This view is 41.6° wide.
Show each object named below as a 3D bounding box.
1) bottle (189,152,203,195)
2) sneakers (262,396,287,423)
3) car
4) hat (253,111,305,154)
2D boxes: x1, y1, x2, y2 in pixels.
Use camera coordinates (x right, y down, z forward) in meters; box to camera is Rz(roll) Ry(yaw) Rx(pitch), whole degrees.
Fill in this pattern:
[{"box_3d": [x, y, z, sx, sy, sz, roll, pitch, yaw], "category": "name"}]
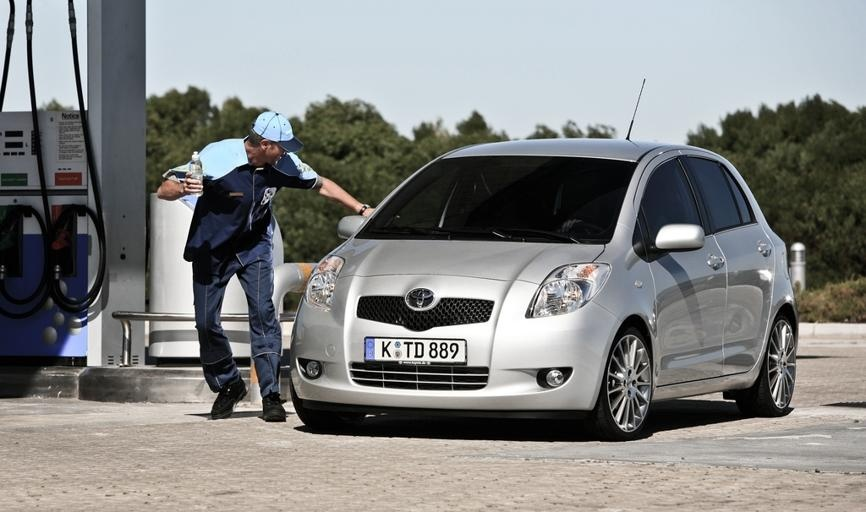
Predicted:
[{"box_3d": [-2.157, -0.754, 10.358, 0.127, 0.378, 0.350, 6, 0, -12], "category": "bottle"}, {"box_3d": [-1.484, 1.439, 10.691, 0.232, 0.245, 0.316, 6, 0, -14], "category": "sneakers"}, {"box_3d": [1.158, 0.190, 10.312, 4.488, 2.629, 1.918, 6, 0, -25], "category": "car"}, {"box_3d": [-1.369, -1.138, 10.541, 0.417, 0.208, 0.263, -2, 7, 39], "category": "hat"}]
